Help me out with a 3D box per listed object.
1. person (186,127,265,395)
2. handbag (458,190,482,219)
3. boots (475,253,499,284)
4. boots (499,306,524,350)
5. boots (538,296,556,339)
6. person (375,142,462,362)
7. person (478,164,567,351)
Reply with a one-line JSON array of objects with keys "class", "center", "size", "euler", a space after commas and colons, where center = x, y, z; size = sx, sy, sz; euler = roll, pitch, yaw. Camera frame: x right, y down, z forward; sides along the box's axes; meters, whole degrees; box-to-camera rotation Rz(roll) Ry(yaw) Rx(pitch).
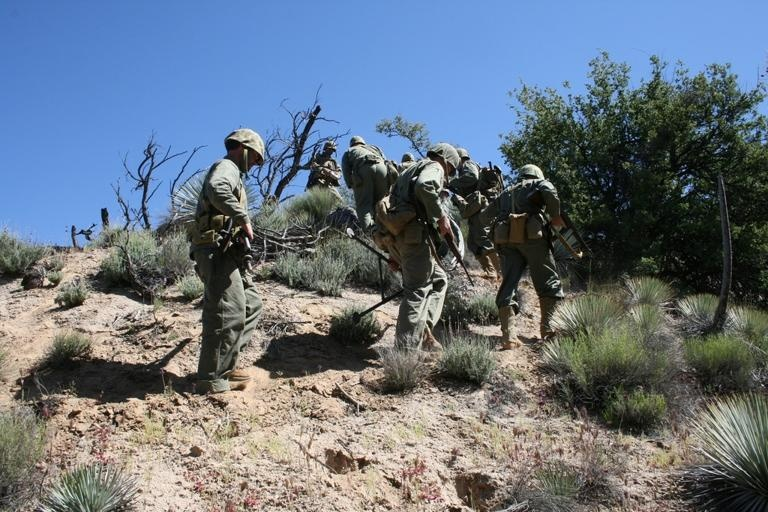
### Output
[{"class": "person", "center": [-1.909, 0.032, 7.065], "size": [0.838, 3.257, 0.868], "euler": [2, -5, -26]}, {"class": "handbag", "center": [1.639, -0.990, 10.792], "size": [0.185, 0.478, 0.444], "euler": [22, -20, -7]}, {"class": "boots", "center": [2.100, 0.246, 11.636], "size": [0.291, 0.505, 0.306], "euler": [-13, -30, -14]}, {"class": "boots", "center": [1.855, 1.043, 8.409], "size": [0.319, 0.631, 0.179], "euler": [0, -5, -1]}, {"class": "boots", "center": [2.411, 0.895, 8.427], "size": [0.238, 0.601, 0.221], "euler": [-2, -5, 22]}, {"class": "person", "center": [0.434, -0.049, 7.702], "size": [0.954, 2.545, 0.861], "euler": [0, -5, 0]}, {"class": "person", "center": [2.102, -0.044, 8.517], "size": [1.071, 2.806, 0.663], "euler": [-1, -5, 11]}]
